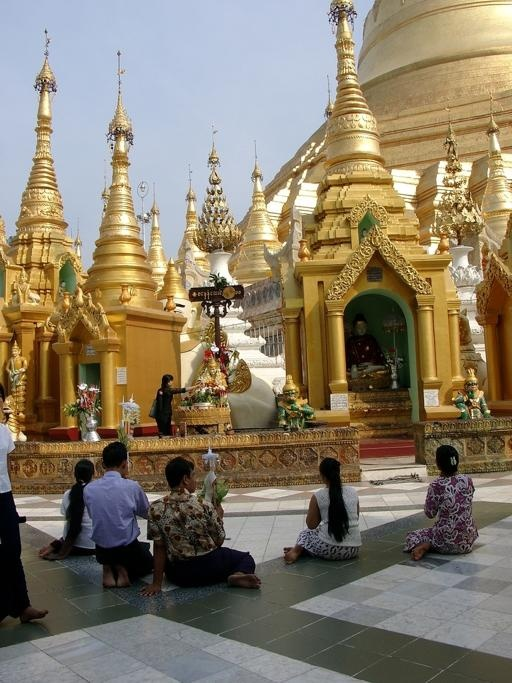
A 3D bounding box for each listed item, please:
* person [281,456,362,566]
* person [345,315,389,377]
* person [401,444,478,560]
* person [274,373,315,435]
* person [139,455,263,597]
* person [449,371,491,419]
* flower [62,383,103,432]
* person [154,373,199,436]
[{"bbox_3d":[0.431,1.127,4.262,0.541,0.689,0.664,1,-13,-18],"label":"person"},{"bbox_3d":[2.117,0.055,12.735,0.772,1.225,0.468,-5,-7,16],"label":"person"},{"bbox_3d":[1.144,0.999,4.116,0.458,0.663,0.350,-4,-6,7],"label":"person"},{"bbox_3d":[0.508,0.783,8.483,0.423,0.701,1.103,-4,-6,4],"label":"person"},{"bbox_3d":[-0.313,1.004,3.625,0.621,0.707,0.247,-3,-7,-5],"label":"person"},{"bbox_3d":[2.976,0.714,9.073,0.415,0.696,1.280,-6,-6,18],"label":"person"},{"bbox_3d":[-2.366,0.917,9.081,0.544,0.526,0.491,7,-2,-28],"label":"flower"},{"bbox_3d":[-1.194,0.858,8.840,0.421,0.821,0.739,-2,-6,-11],"label":"person"}]
